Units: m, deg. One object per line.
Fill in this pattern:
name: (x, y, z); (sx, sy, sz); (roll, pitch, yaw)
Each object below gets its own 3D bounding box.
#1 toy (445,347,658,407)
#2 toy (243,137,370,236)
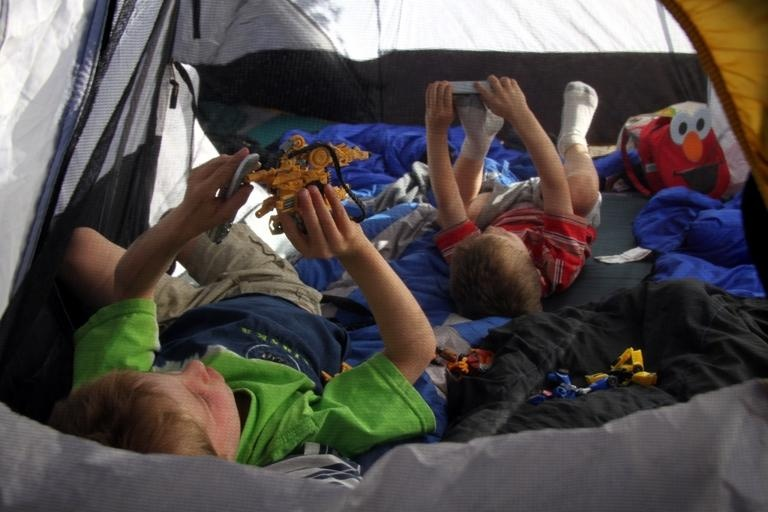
toy: (0.255, 0.190, 1.153); (0.357, 0.051, 0.130); (-1, 10, 13)
toy: (-0.117, -0.123, 1.126); (0.194, 0.134, 0.110); (-6, 11, -13)
